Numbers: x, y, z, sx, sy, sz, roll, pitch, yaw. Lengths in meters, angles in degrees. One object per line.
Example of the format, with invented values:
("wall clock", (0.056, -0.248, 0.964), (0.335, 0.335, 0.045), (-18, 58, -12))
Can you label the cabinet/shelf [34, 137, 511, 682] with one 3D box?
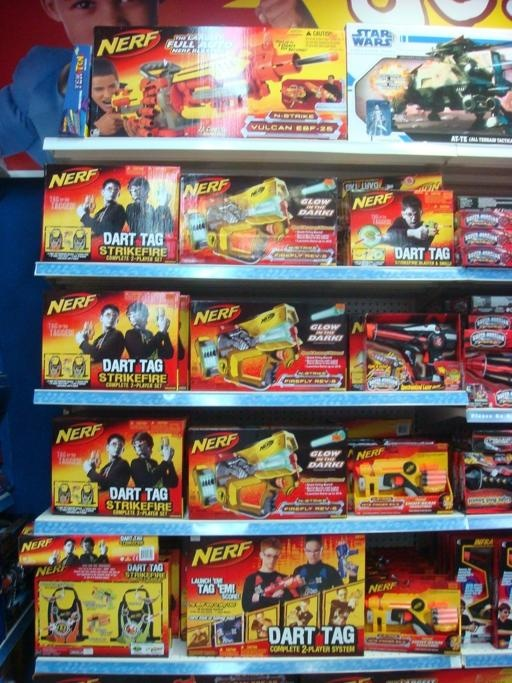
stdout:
("cabinet/shelf", (0.056, 0.253, 2.308), (2.107, 1.164, 0.856), (1, -3, -4))
